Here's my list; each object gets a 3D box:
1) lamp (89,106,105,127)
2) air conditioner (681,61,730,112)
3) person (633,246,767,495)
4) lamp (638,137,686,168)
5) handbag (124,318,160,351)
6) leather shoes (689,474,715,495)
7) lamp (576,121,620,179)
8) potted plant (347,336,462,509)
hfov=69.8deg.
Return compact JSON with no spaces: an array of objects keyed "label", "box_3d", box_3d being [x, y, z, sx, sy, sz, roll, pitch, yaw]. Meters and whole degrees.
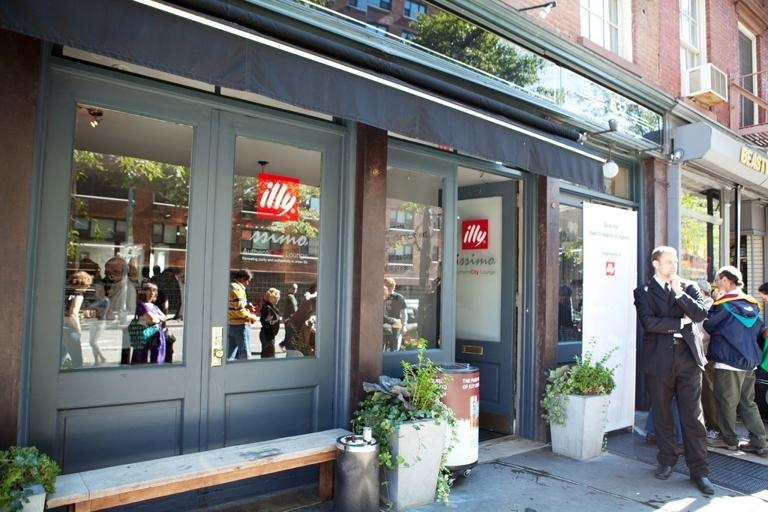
[{"label":"lamp","box_3d":[-2.707,-1.295,5.194,0.181,0.185,0.141,-3,-4,43]},{"label":"air conditioner","box_3d":[6.186,-2.917,10.609,0.697,0.840,1.322,0,-5,40]},{"label":"person","box_3d":[3.377,1.262,6.422,0.881,2.718,0.425,4,3,29]},{"label":"lamp","box_3d":[4.941,-1.876,9.674,0.769,0.412,0.511,-1,-2,7]},{"label":"handbag","box_3d":[-2.348,0.750,5.289,0.274,0.204,0.140,-11,-3,-39]},{"label":"leather shoes","box_3d":[3.603,2.586,6.226,0.099,0.113,0.280,-3,-4,-5]},{"label":"lamp","box_3d":[3.327,-1.644,8.417,0.496,1.045,2.649,3,3,24]},{"label":"potted plant","box_3d":[0.268,1.836,5.807,1.067,1.463,0.619,1,3,-25]}]
